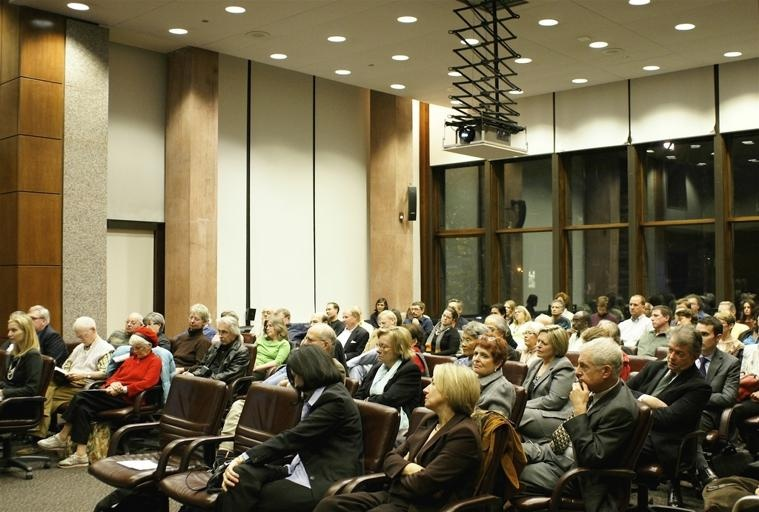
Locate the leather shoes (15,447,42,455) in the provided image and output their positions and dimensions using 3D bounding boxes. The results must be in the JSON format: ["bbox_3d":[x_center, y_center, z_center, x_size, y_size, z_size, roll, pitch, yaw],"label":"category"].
[{"bbox_3d":[-4.022,2.238,7.450,0.216,0.095,0.107,8,-11,-18],"label":"leather shoes"}]

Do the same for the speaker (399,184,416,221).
[{"bbox_3d":[0.571,-1.064,13.454,0.380,0.771,0.159,0,-2,-11],"label":"speaker"}]

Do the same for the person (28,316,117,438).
[{"bbox_3d":[-3.734,1.348,7.853,0.775,1.459,0.681,4,1,41],"label":"person"}]

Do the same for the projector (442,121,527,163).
[{"bbox_3d":[1.555,-1.715,9.684,0.765,0.356,1.172,-3,-3,44],"label":"projector"}]

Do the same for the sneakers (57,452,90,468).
[{"bbox_3d":[-3.330,2.226,7.088,0.295,0.129,0.126,4,-11,-14],"label":"sneakers"}]

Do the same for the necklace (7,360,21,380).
[{"bbox_3d":[-4.044,1.264,7.156,0.126,0.214,0.036,-6,-28,33],"label":"necklace"}]

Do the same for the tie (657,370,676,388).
[{"bbox_3d":[2.589,1.130,5.908,0.135,0.156,0.116,11,17,-46],"label":"tie"}]
